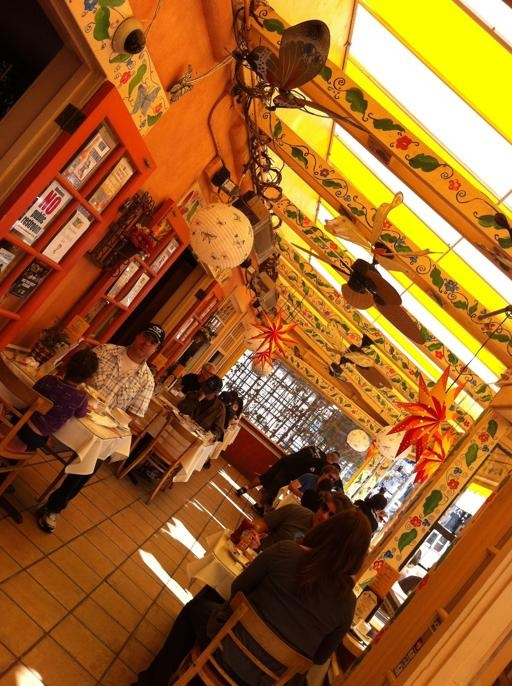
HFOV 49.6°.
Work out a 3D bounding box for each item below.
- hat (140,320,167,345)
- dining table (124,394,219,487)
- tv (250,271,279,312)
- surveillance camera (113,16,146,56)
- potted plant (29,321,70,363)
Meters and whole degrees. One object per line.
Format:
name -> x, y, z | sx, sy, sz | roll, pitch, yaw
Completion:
hat -> -0.890, -0.092, 4.820 | 0.262, 0.171, 0.398 | 22, 1, -11
dining table -> -0.703, 0.926, 5.872 | 0.755, 0.346, 1.195 | 25, 31, 3
tv -> 0.133, -0.879, 9.257 | 0.362, 0.358, 0.631 | 54, -7, 11
surveillance camera -> -0.554, -1.385, 2.518 | 0.136, 0.147, 0.132 | 31, -46, 36
potted plant -> -1.344, -0.005, 3.564 | 0.148, 0.213, 0.162 | 47, -4, 39
